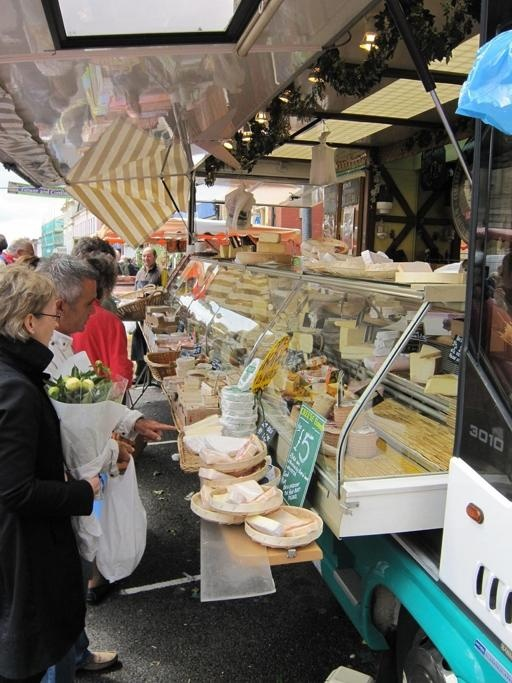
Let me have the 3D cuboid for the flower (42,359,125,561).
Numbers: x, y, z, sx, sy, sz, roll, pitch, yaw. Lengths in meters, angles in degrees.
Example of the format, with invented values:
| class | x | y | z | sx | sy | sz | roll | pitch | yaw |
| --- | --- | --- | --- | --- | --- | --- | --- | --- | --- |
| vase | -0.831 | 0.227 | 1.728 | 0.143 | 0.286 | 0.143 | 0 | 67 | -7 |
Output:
| class | x | y | z | sx | sy | sz | roll | pitch | yaw |
| --- | --- | --- | --- | --- | --- | --- | --- | --- | --- |
| flower | -0.524 | 0.428 | 1.627 | 0.303 | 0.690 | 0.335 | -2 | 13 | -17 |

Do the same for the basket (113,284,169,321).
| class | x | y | z | sx | sy | sz | roll | pitch | yaw |
| --- | --- | --- | --- | --- | --- | --- | --- | --- | --- |
| basket | -1.600 | -0.571 | 6.491 | 0.782 | 0.558 | 0.802 | 0 | 10 | -8 |

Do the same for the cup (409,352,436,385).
| class | x | y | z | sx | sy | sz | roll | pitch | yaw |
| --- | --- | --- | --- | --- | --- | --- | --- | --- | --- |
| cup | 0.539 | 0.077 | 1.480 | 0.058 | 0.095 | 0.096 | -1 | 10 | -4 |

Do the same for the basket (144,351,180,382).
| class | x | y | z | sx | sy | sz | roll | pitch | yaw |
| --- | --- | --- | --- | --- | --- | --- | --- | --- | --- |
| basket | -0.842 | 0.197 | 4.145 | 0.275 | 0.133 | 0.363 | -4 | 7 | -26 |

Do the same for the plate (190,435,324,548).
| class | x | y | z | sx | sy | sz | roll | pitch | yaw |
| --- | --- | --- | --- | --- | --- | --- | --- | --- | --- |
| plate | 0.011 | 0.529 | 1.651 | 0.450 | 0.216 | 0.668 | -5 | 14 | -1 |

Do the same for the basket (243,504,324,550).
| class | x | y | z | sx | sy | sz | roll | pitch | yaw |
| --- | --- | --- | --- | --- | --- | --- | --- | --- | --- |
| basket | 0.085 | 0.589 | 1.485 | 0.236 | 0.074 | 0.251 | -4 | 4 | -36 |

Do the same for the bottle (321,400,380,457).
| class | x | y | z | sx | sy | sz | roll | pitch | yaw |
| --- | --- | --- | --- | --- | --- | --- | --- | --- | --- |
| bottle | 0.324 | 0.308 | 1.576 | 0.127 | 0.209 | 0.272 | -3 | 4 | -10 |

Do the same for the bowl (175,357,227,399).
| class | x | y | z | sx | sy | sz | roll | pitch | yaw |
| --- | --- | --- | --- | --- | --- | --- | --- | --- | --- |
| bowl | -0.386 | 0.246 | 3.205 | 0.345 | 0.228 | 0.352 | 3 | 10 | -1 |
